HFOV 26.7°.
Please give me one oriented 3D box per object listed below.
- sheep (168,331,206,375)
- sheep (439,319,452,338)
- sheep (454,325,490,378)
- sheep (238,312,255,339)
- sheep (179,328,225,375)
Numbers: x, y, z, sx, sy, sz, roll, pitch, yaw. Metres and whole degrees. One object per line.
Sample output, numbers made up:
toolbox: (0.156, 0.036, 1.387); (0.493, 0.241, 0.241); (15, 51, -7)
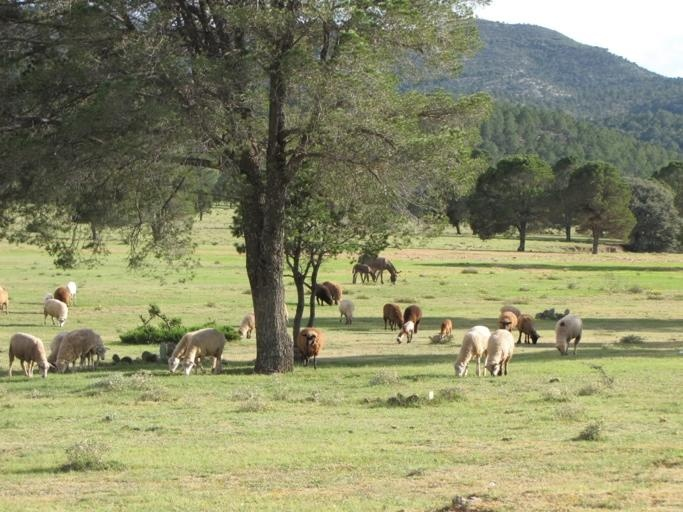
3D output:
sheep: (-7.087, 4.343, 63.040); (1.068, 1.769, 1.461); (6, 7, 25)
sheep: (5.355, 3.829, 73.903); (0.386, 0.755, 1.441); (6, 18, 4)
sheep: (5.625, 4.216, 63.732); (0.944, 1.691, 3.249); (1, 5, 26)
sheep: (-4.885, 3.751, 73.620); (0.712, 1.176, 1.493); (3, 6, -4)
sheep: (-6.232, 4.280, 63.326); (1.542, 2.045, 1.509); (4, 3, 31)
